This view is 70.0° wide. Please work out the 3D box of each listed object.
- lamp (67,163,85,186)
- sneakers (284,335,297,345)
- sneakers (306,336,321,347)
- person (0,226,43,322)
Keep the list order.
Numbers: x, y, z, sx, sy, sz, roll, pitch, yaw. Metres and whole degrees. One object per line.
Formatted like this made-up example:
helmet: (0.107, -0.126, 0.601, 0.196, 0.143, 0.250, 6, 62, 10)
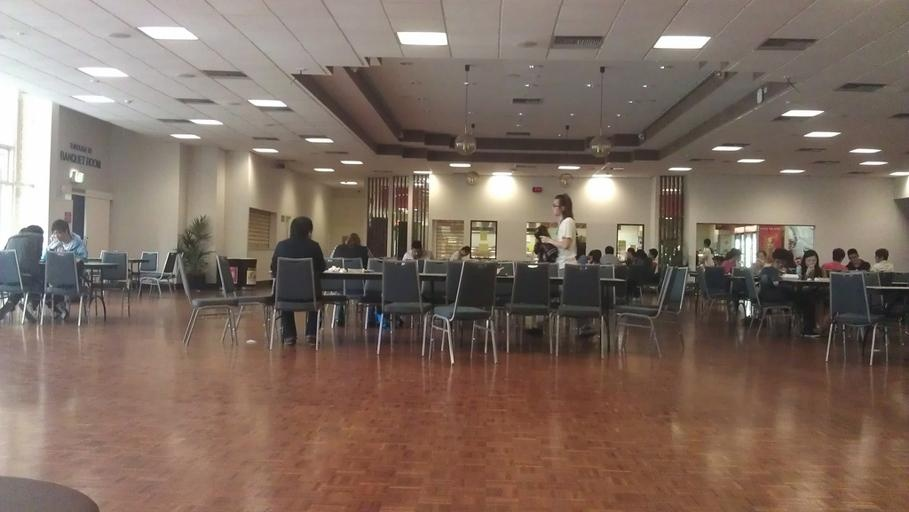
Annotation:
lamp: (-10.288, -2.208, 17.618, 0.389, 0.558, 0.715, 2, -1, -31)
sneakers: (-2.958, 1.511, 11.612, 0.170, 0.118, 0.161, 3, -8, -24)
sneakers: (-2.505, 1.527, 11.625, 0.295, 0.281, 0.170, -1, 1, -8)
person: (-8.689, 0.317, 12.992, 0.739, 2.031, 0.600, 1, -1, -13)
